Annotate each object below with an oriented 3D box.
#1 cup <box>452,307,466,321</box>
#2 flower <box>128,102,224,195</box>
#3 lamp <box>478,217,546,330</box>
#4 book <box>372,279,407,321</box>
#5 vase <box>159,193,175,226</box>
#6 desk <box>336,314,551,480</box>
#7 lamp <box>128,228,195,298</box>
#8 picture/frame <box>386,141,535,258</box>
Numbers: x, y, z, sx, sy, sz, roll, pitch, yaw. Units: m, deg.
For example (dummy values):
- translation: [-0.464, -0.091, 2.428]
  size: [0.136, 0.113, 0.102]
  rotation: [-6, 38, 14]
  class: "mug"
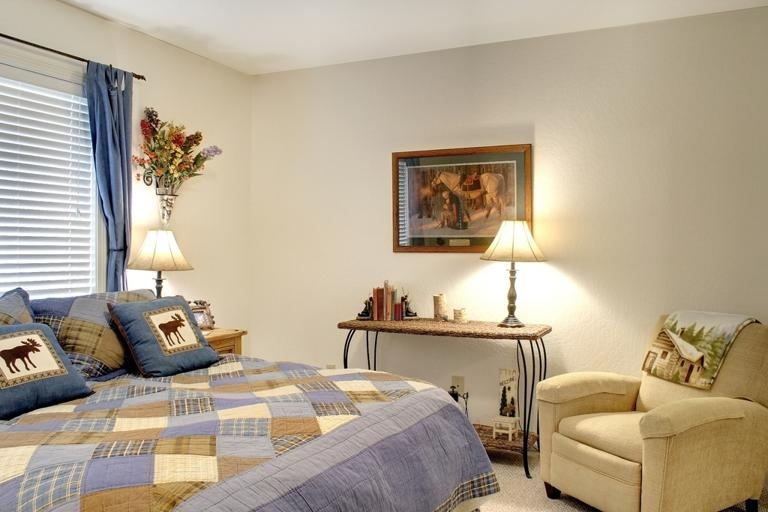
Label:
- translation: [0.629, 0.499, 4.378]
  size: [0.098, 0.090, 0.094]
  rotation: [0, -4, 0]
  class: "cup"
- translation: [-1.843, -0.837, 4.542]
  size: [0.687, 0.692, 0.615]
  rotation: [18, 23, 10]
  class: "flower"
- translation: [1.056, 0.165, 4.280]
  size: [0.596, 0.831, 0.563]
  rotation: [1, 3, 12]
  class: "lamp"
- translation: [0.028, 0.404, 4.718]
  size: [0.316, 0.379, 0.415]
  rotation: [-1, -4, 11]
  class: "book"
- translation: [-1.846, -0.398, 4.522]
  size: [0.079, 0.274, 0.176]
  rotation: [8, 13, 24]
  class: "vase"
- translation: [0.512, 0.969, 3.609]
  size: [1.260, 0.751, 0.475]
  rotation: [-1, -2, 29]
  class: "desk"
- translation: [-1.742, 0.054, 4.389]
  size: [0.555, 0.677, 0.534]
  rotation: [0, -1, -10]
  class: "lamp"
- translation: [0.713, -0.487, 4.511]
  size: [1.145, 0.747, 0.046]
  rotation: [-2, -2, 23]
  class: "picture/frame"
